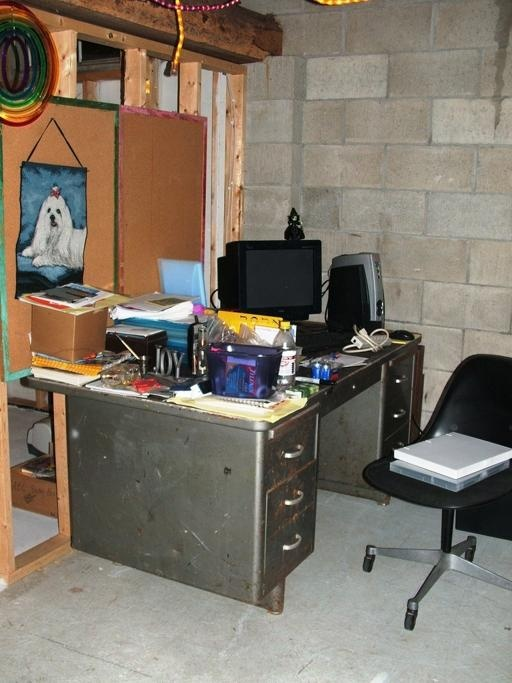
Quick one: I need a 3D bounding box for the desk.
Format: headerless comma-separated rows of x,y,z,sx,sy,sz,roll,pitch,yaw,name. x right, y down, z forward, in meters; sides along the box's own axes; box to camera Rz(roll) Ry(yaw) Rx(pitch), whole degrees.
-0.021,0.424,2.696,1.036,0.721,1.467,7,12,31,desk

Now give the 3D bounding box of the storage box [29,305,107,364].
-0.634,-0.021,2.314,0.207,0.197,0.201,16,11,15,storage box

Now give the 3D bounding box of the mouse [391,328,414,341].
0.676,-0.035,3.089,0.093,0.030,0.054,12,17,42,mouse

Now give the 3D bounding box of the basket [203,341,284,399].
-0.034,0.082,2.032,0.207,0.129,0.151,5,12,18,basket

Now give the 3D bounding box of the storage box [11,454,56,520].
-0.921,0.613,2.867,0.267,0.128,0.188,10,17,28,storage box

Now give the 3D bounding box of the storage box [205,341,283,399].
-0.038,0.082,2.039,0.206,0.128,0.151,5,11,18,storage box

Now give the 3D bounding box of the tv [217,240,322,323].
0.021,-0.368,3.186,0.526,0.443,0.368,-6,11,-35,tv

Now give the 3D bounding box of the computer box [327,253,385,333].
0.473,-0.223,3.191,0.238,0.363,0.289,-5,8,-32,computer box

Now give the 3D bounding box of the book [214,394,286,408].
-0.010,0.177,1.955,0.206,0.013,0.125,0,10,-10,book
